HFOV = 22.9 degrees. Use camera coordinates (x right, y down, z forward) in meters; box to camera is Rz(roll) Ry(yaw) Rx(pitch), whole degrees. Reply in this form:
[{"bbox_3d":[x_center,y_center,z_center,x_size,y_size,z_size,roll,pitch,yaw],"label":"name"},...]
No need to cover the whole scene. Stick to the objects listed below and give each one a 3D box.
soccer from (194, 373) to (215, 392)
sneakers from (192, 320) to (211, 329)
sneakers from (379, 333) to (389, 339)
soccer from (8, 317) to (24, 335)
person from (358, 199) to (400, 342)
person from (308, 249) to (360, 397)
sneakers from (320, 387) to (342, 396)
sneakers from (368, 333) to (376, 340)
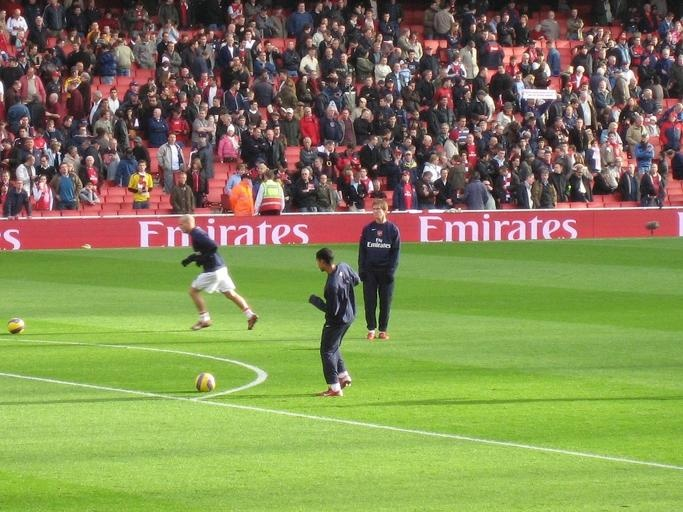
[{"bbox_3d":[-2.560,2.393,31.819,0.330,0.327,0.332,9,-22,34],"label":"soccer"},{"bbox_3d":[-3.015,1.493,36.307,0.368,0.149,0.190,-3,2,21],"label":"sneakers"},{"bbox_3d":[0.855,1.680,35.665,0.211,0.199,0.101,0,13,12],"label":"sneakers"},{"bbox_3d":[-6.909,1.500,35.934,0.316,0.309,0.318,-4,-8,8],"label":"soccer"},{"bbox_3d":[0.729,0.317,35.222,0.635,2.945,0.813,-4,4,-37],"label":"person"},{"bbox_3d":[-0.165,1.251,31.389,0.491,2.747,1.027,2,4,42],"label":"person"},{"bbox_3d":[-0.165,2.533,31.416,0.467,0.200,0.157,1,4,20],"label":"sneakers"},{"bbox_3d":[0.604,1.701,35.596,0.098,0.079,0.161,5,-12,-13],"label":"sneakers"}]
